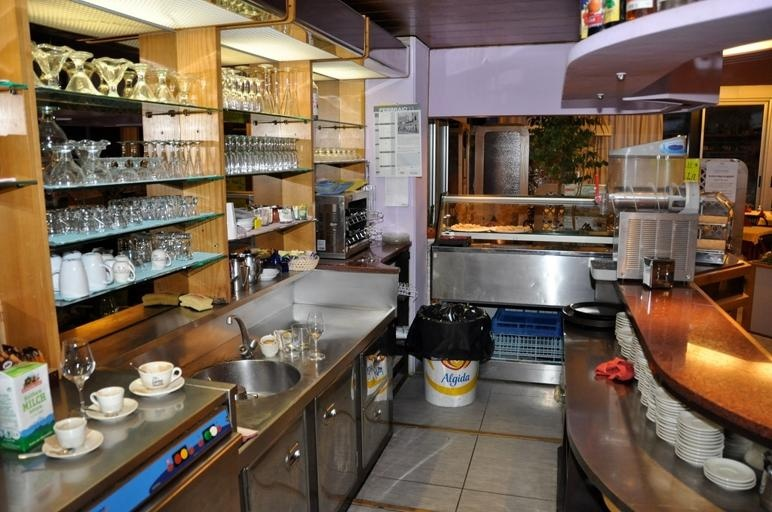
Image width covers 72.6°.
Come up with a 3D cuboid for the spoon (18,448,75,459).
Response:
[{"bbox_3d":[-1.202,0.704,1.871,0.204,0.020,0.050,-8,11,3],"label":"spoon"}]

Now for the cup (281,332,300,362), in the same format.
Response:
[{"bbox_3d":[-0.580,0.545,3.202,0.111,0.142,0.170,-1,1,-2],"label":"cup"}]

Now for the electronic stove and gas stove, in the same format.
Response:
[{"bbox_3d":[1.927,-0.058,3.898,0.584,0.523,0.312,2,4,-1],"label":"electronic stove and gas stove"}]

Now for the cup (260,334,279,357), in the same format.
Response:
[{"bbox_3d":[-0.702,0.547,3.231,0.107,0.096,0.127,0,-2,4],"label":"cup"}]

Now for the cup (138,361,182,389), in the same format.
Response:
[{"bbox_3d":[-0.972,0.505,2.257,0.135,0.063,0.109,6,3,-2],"label":"cup"}]

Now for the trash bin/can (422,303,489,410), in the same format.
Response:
[{"bbox_3d":[0.618,0.930,4.711,0.639,0.715,0.679,0,-7,12],"label":"trash bin/can"}]

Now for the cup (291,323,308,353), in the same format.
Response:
[{"bbox_3d":[-0.522,0.501,3.228,0.136,0.151,0.158,2,11,7],"label":"cup"}]

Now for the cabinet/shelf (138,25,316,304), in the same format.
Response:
[{"bbox_3d":[-0.981,-0.594,3.201,0.501,1.565,1.652,1,8,7],"label":"cabinet/shelf"}]

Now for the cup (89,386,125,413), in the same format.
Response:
[{"bbox_3d":[-1.088,0.558,2.080,0.115,0.083,0.090,1,8,-6],"label":"cup"}]

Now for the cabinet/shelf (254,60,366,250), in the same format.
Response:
[{"bbox_3d":[-0.607,-0.776,4.145,0.505,1.387,1.480,1,10,7],"label":"cabinet/shelf"}]

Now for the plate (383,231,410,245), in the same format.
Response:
[{"bbox_3d":[0.099,-0.174,5.149,0.259,0.120,0.283,-7,11,6],"label":"plate"}]

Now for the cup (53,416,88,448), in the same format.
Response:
[{"bbox_3d":[-1.136,0.630,1.892,0.091,0.077,0.108,-1,-3,0],"label":"cup"}]

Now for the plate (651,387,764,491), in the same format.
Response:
[{"bbox_3d":[1.354,0.793,2.255,0.165,0.126,0.425,-2,9,-1],"label":"plate"}]

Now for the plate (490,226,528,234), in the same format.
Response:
[{"bbox_3d":[1.198,-0.256,5.037,0.362,0.082,0.048,-5,12,19],"label":"plate"}]

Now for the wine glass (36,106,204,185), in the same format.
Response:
[{"bbox_3d":[-1.320,-0.493,2.644,0.228,0.258,0.757,11,12,31],"label":"wine glass"}]

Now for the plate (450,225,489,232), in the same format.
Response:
[{"bbox_3d":[0.824,-0.272,5.152,0.356,0.091,0.051,-5,12,17],"label":"plate"}]

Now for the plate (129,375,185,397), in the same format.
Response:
[{"bbox_3d":[-0.982,0.558,2.248,0.219,0.062,0.128,-9,11,-5],"label":"plate"}]

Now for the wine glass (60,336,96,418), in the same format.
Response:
[{"bbox_3d":[-1.239,0.466,2.133,0.111,0.277,0.284,-17,13,-33],"label":"wine glass"}]

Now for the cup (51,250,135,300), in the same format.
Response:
[{"bbox_3d":[-1.352,0.093,2.449,0.285,0.172,0.176,0,5,-3],"label":"cup"}]

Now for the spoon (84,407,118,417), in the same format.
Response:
[{"bbox_3d":[-1.115,0.610,2.055,0.074,0.010,0.050,7,8,15],"label":"spoon"}]
